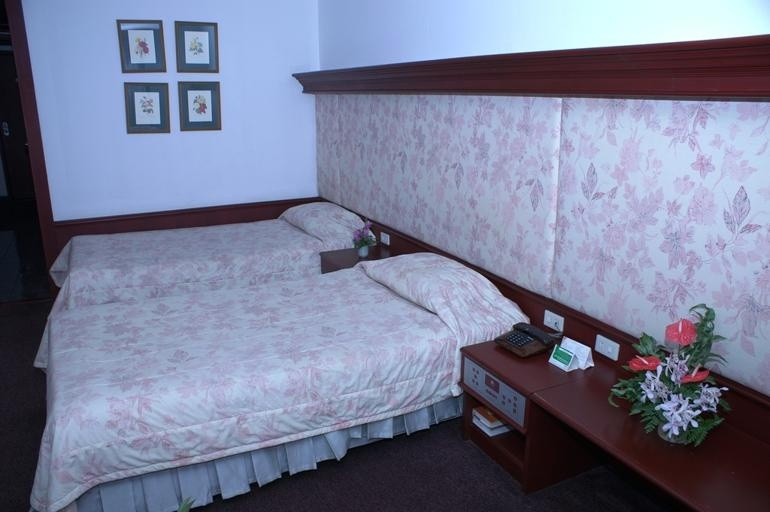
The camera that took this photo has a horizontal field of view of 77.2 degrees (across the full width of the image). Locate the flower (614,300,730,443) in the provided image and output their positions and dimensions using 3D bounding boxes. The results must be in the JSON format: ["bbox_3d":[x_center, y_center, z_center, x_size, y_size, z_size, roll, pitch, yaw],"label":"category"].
[{"bbox_3d":[1.650,0.704,2.740,0.608,0.613,0.509,10,13,3],"label":"flower"}]

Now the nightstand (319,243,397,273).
[{"bbox_3d":[-0.339,0.008,5.007,0.436,0.278,0.434,-12,22,-28],"label":"nightstand"}]

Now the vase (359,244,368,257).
[{"bbox_3d":[-0.220,-0.071,5.049,0.101,0.104,0.101,10,21,13],"label":"vase"}]

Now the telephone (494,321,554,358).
[{"bbox_3d":[1.023,0.565,3.403,0.422,0.125,0.356,-8,15,-29],"label":"telephone"}]

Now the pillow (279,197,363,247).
[{"bbox_3d":[-0.708,-0.419,5.557,0.505,0.205,0.815,-21,37,-28],"label":"pillow"}]

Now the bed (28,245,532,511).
[{"bbox_3d":[-0.709,0.742,3.744,3.342,1.029,1.462,-10,23,-18],"label":"bed"}]

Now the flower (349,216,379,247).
[{"bbox_3d":[-0.220,-0.257,5.149,0.255,0.083,0.261,-7,67,-2],"label":"flower"}]

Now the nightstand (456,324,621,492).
[{"bbox_3d":[1.070,0.955,3.513,0.923,0.910,0.849,-7,19,-29],"label":"nightstand"}]

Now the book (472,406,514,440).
[{"bbox_3d":[0.732,1.176,3.424,0.193,0.047,0.190,-2,7,-28],"label":"book"}]
